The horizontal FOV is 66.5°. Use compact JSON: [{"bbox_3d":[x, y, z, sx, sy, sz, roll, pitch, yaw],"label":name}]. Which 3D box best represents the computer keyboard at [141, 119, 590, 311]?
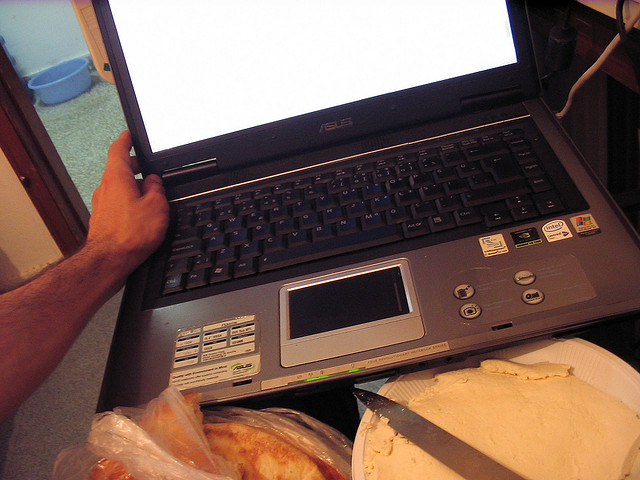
[{"bbox_3d":[0.035,-0.045,0.736,0.633,0.180,0.195,-6,40,-3],"label":"computer keyboard"}]
